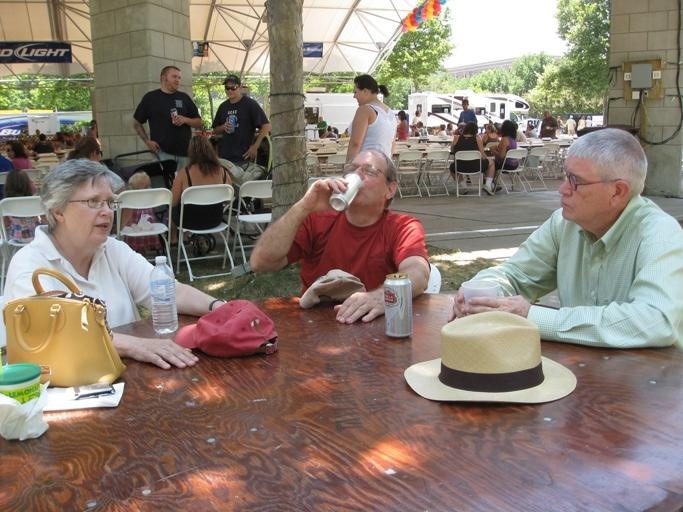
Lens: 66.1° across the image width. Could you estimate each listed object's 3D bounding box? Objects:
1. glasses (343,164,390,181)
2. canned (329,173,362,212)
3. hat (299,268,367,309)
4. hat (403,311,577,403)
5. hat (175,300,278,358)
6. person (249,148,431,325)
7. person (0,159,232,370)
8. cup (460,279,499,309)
[{"bbox_3d":[0.123,-0.466,2.887,0.146,0.046,0.155,7,-21,17],"label":"glasses"},{"bbox_3d":[0.022,-0.292,2.409,0.103,0.159,0.214,3,11,16],"label":"canned"},{"bbox_3d":[-0.053,0.164,2.546,0.196,0.111,0.252,-17,7,-25],"label":"hat"},{"bbox_3d":[0.474,0.331,1.639,0.370,0.134,0.334,-4,8,14],"label":"hat"},{"bbox_3d":[-0.445,0.284,2.050,0.313,0.113,0.222,6,21,7],"label":"hat"},{"bbox_3d":[0.143,-0.147,3.089,0.850,0.912,0.991,14,18,19],"label":"person"},{"bbox_3d":[-0.968,0.004,2.533,1.125,0.946,0.841,6,16,20],"label":"person"},{"bbox_3d":[0.577,0.153,2.157,0.110,0.088,0.117,-2,2,0],"label":"cup"}]
